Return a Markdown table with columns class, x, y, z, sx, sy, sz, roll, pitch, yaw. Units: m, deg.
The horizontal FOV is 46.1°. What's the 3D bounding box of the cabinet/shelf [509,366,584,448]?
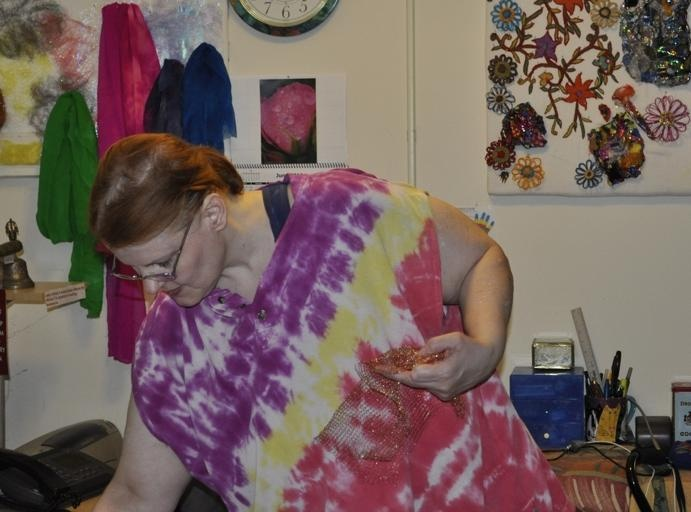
| class | x | y | z | sx | sy | sz | roll | pitch | yaw |
| --- | --- | --- | --- | --- | --- | --- | --- | --- | --- |
| cabinet/shelf | 0.785 | 0.558 | 3.141 | 0.254 | 0.306 | 0.278 | -1 | -1 | 16 |
